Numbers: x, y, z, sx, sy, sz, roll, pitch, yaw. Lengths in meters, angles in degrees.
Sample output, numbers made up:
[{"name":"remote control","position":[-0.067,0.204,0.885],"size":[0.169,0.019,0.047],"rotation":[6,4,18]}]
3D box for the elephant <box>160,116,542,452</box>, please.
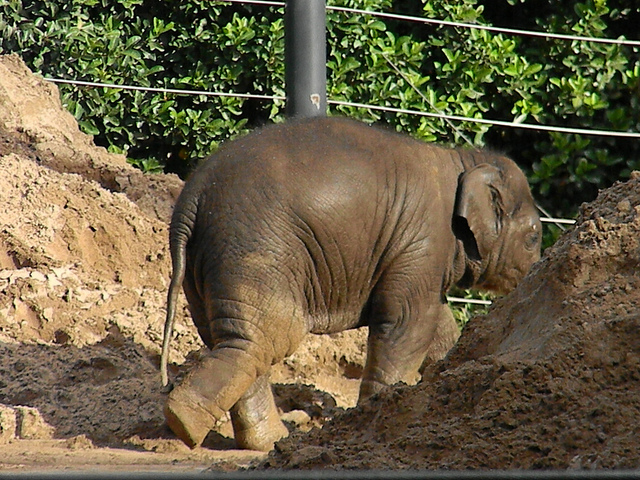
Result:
[{"name":"elephant","position":[0.324,0.296,13.609],"size":[3.329,2.517,1.474],"rotation":[-1,9,-32]}]
